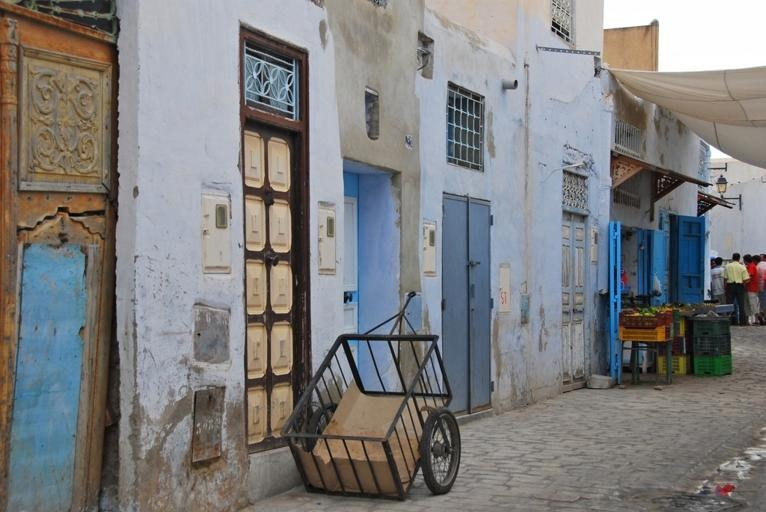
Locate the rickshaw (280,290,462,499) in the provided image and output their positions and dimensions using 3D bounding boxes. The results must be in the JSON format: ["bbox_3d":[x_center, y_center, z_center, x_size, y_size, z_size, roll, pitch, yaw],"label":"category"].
[{"bbox_3d":[0.059,1.600,8.846,1.297,1.200,2.228,-4,38,28],"label":"rickshaw"}]
